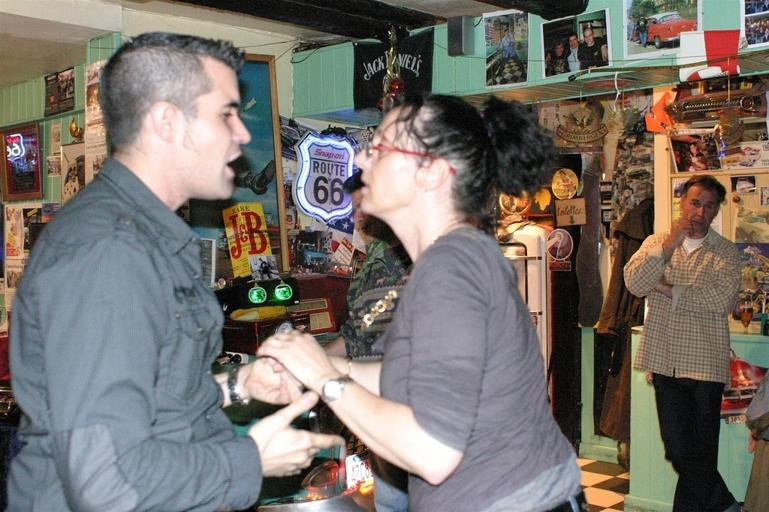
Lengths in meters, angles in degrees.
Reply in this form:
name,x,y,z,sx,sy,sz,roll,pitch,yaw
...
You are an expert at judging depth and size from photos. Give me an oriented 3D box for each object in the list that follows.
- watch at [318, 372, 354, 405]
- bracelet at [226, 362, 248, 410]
name,x,y,z,sx,sy,sz,roll,pitch,yaw
watch,-0.159,0.413,1.970,0.072,0.091,0.027,-22,-45,21
bracelet,-0.564,0.506,2.413,0.044,0.116,0.112,-6,3,-6
